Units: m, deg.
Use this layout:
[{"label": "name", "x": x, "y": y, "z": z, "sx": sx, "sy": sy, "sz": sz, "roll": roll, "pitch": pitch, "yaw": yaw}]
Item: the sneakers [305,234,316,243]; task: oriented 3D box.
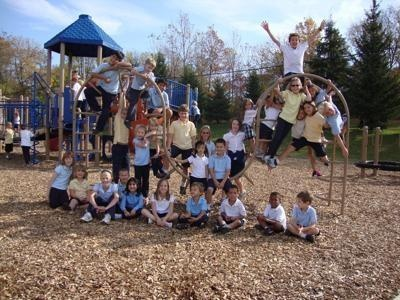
[{"label": "sneakers", "x": 1.749, "y": 1.396, "z": 6.830, "sx": 0.156, "sy": 0.109, "sz": 0.124, "roll": 4, "pitch": 9, "yaw": 11}]

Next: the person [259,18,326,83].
[{"label": "person", "x": 1.889, "y": -2.069, "z": 8.741, "sx": 1.078, "sy": 1.147, "sz": 1.282, "roll": 7, "pitch": 9, "yaw": 28}]

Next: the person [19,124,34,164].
[{"label": "person", "x": -5.199, "y": -0.172, "z": 13.003, "sx": 0.384, "sy": 1.182, "sz": 0.702, "roll": -1, "pitch": 9, "yaw": -22}]

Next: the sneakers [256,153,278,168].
[{"label": "sneakers", "x": 1.295, "y": 0.191, "z": 8.309, "sx": 0.220, "sy": 0.216, "sz": 0.547, "roll": -18, "pitch": 18, "yaw": -8}]

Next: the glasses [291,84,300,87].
[{"label": "glasses", "x": 1.743, "y": -1.185, "z": 7.909, "sx": 0.144, "sy": 0.047, "sz": 0.063, "roll": 4, "pitch": 9, "yaw": 5}]

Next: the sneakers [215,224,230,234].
[{"label": "sneakers", "x": 0.352, "y": 1.288, "z": 7.068, "sx": 0.170, "sy": 0.124, "sz": 0.072, "roll": -3, "pitch": -32, "yaw": 25}]

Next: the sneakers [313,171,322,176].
[{"label": "sneakers", "x": 2.430, "y": 0.485, "z": 8.916, "sx": 0.213, "sy": 0.102, "sz": 0.073, "roll": 3, "pitch": -2, "yaw": -42}]

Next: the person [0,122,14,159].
[{"label": "person", "x": -6.789, "y": -0.354, "z": 15.362, "sx": 0.301, "sy": 1.322, "sz": 2.344, "roll": -1, "pitch": 10, "yaw": -25}]
